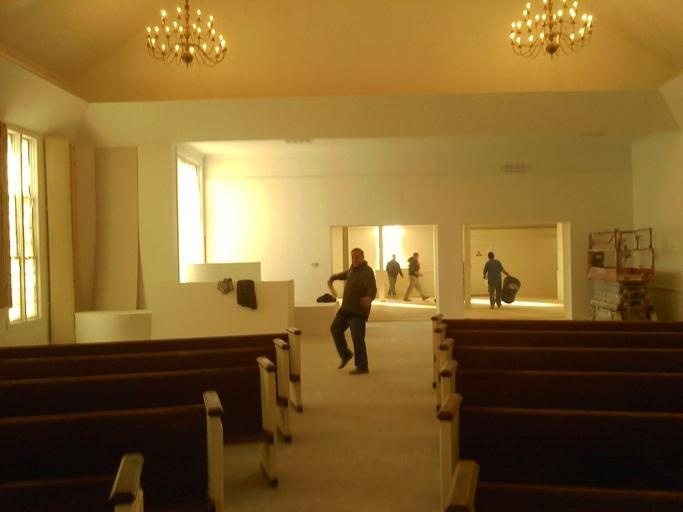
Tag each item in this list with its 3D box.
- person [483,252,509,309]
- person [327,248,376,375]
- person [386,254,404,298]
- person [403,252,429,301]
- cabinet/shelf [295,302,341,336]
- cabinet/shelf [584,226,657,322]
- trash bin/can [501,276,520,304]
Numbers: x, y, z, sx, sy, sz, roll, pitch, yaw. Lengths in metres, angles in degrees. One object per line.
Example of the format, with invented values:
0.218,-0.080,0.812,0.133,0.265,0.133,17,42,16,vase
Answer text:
4.273,0.660,15.482,0.515,1.501,1.077,-1,-1,15,person
0.155,0.776,8.002,0.653,1.764,0.955,-1,-1,-1,person
1.651,0.653,17.565,0.466,1.375,1.019,-1,-1,5,person
2.323,0.622,17.250,0.769,1.491,1.901,-1,-1,8,person
-0.473,1.230,10.711,0.737,0.533,0.794,-1,-5,-2,cabinet/shelf
5.831,0.367,11.439,1.230,1.905,2.443,-1,-1,15,cabinet/shelf
4.867,0.984,16.179,0.503,0.852,0.815,7,2,5,trash bin/can
